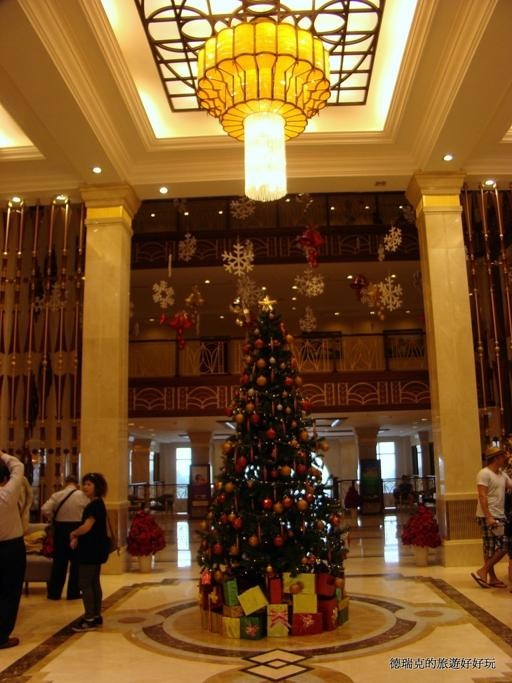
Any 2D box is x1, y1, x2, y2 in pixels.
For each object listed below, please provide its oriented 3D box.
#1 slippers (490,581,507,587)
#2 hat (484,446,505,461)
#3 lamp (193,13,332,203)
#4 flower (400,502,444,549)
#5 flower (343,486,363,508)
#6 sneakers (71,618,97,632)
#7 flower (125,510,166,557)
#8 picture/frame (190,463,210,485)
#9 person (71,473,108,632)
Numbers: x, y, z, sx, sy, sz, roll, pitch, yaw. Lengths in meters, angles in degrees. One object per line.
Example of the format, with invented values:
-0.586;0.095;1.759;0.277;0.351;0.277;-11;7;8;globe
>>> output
2.290;2.270;5.353;0.059;0.036;0.107;6;-14;-30;slippers
2.294;1.097;5.545;0.184;0.077;0.202;-19;-13;-6;hat
0.067;-1.834;4.616;1.021;1.279;0.900;7;-13;-35;lamp
2.029;2.269;6.997;0.404;0.517;0.441;-7;-12;28;flower
3.015;4.869;17.819;0.450;0.785;0.894;-3;-11;13;flower
-1.267;2.095;4.234;0.172;0.067;0.079;1;-24;2;sneakers
-1.354;2.369;6.998;0.435;0.518;0.442;1;-11;-12;flower
-1.849;4.363;18.857;0.737;0.658;0.250;-2;-14;6;picture/frame
-1.229;1.562;4.259;0.280;1.122;0.441;2;-12;-14;person
